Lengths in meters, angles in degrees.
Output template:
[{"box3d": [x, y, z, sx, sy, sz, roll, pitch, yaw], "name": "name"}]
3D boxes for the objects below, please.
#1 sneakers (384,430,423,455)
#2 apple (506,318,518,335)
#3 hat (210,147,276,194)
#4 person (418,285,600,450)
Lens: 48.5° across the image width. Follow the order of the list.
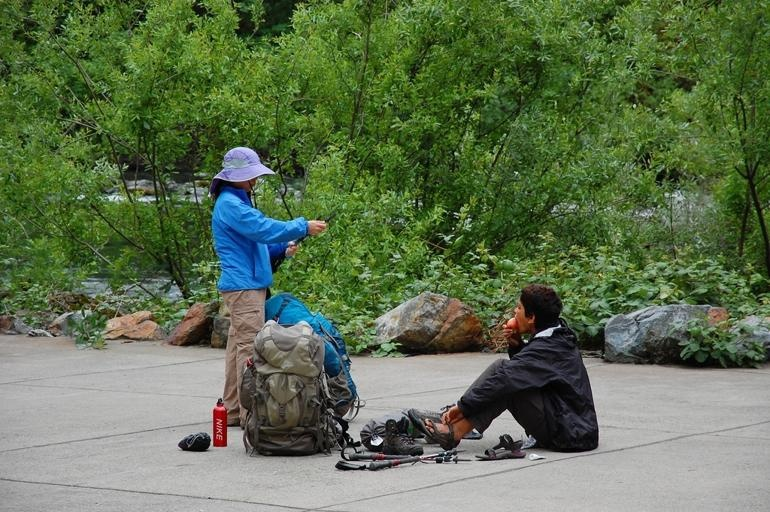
[{"box3d": [0.165, 1.718, 7.778, 0.346, 0.151, 0.174, -1, -2, 9], "name": "sneakers"}, {"box3d": [1.198, 0.671, 8.131, 0.146, 0.134, 0.108, 3, -11, 23], "name": "apple"}, {"box3d": [-1.437, -0.922, 8.832, 0.698, 0.365, 0.666, -11, 16, -43], "name": "hat"}, {"box3d": [1.201, 1.085, 8.047, 1.867, 1.452, 0.926, 0, -1, 11], "name": "person"}]
